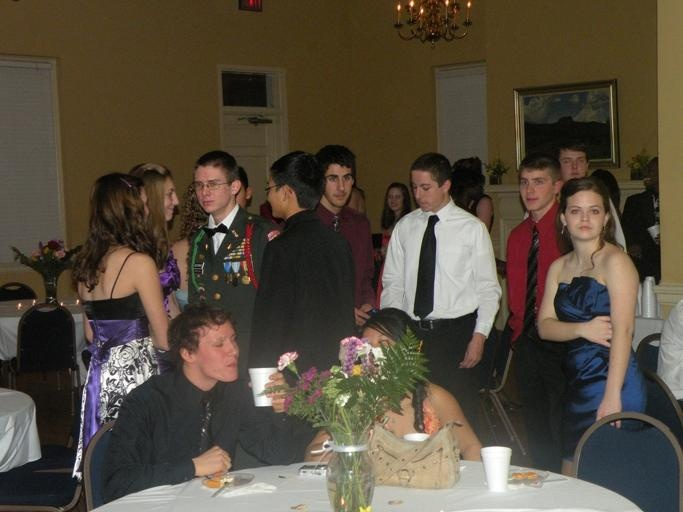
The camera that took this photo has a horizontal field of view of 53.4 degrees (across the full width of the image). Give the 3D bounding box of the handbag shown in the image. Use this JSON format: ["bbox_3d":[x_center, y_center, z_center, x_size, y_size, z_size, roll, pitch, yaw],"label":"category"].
[{"bbox_3d":[0.273,0.648,2.521,0.361,0.289,0.213,1,6,20],"label":"handbag"}]

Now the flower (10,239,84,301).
[{"bbox_3d":[-3.056,0.150,6.918,0.546,0.581,0.580,-2,7,-15],"label":"flower"}]

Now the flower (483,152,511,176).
[{"bbox_3d":[2.165,-1.261,9.442,0.267,0.279,0.303,-3,5,-10],"label":"flower"}]

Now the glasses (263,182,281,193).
[{"bbox_3d":[-0.352,-0.346,3.423,0.087,0.029,0.090,-16,3,-4],"label":"glasses"}]

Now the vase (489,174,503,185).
[{"bbox_3d":[2.154,-1.054,9.462,0.118,0.129,0.163,1,-5,-11],"label":"vase"}]

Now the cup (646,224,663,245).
[{"bbox_3d":[2.612,-0.177,5.681,0.079,0.165,0.431,1,6,22],"label":"cup"}]

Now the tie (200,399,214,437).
[{"bbox_3d":[-0.565,0.678,2.858,0.033,0.169,0.045,4,-7,7],"label":"tie"}]

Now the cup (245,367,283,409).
[{"bbox_3d":[-0.303,0.513,2.628,0.128,0.145,0.139,0,-9,0],"label":"cup"}]

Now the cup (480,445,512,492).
[{"bbox_3d":[0.560,0.777,2.530,0.130,0.165,0.142,-3,-2,0],"label":"cup"}]
